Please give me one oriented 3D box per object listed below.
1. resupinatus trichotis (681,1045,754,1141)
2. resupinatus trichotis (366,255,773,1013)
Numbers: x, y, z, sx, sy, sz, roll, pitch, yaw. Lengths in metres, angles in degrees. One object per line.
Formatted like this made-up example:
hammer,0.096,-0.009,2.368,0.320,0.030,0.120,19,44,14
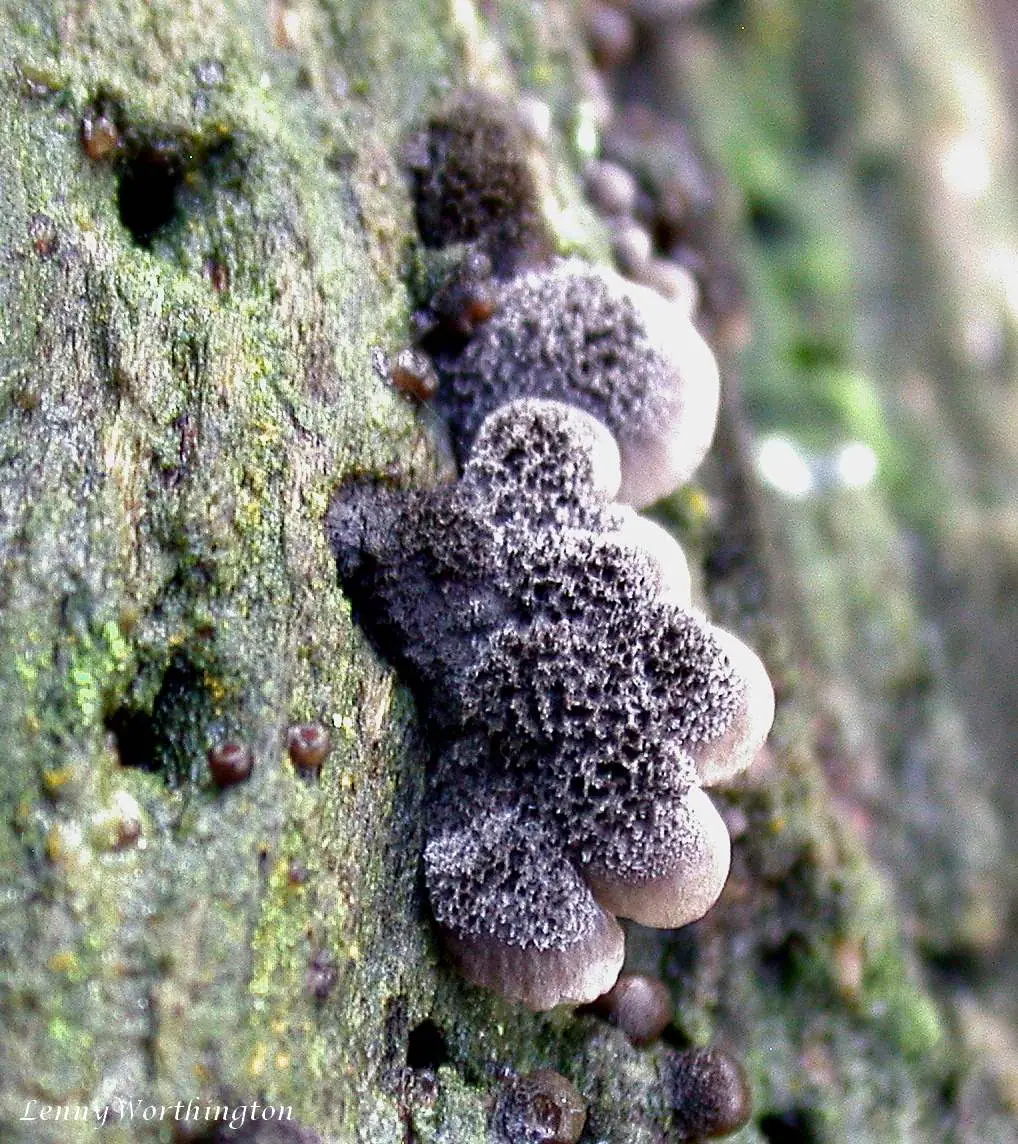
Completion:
resupinatus trichotis,0.514,1.317,4.412,0.199,0.148,0.226,-28,84,-5
resupinatus trichotis,0.127,0.189,4.443,0.877,1.279,1.773,-4,82,-2
